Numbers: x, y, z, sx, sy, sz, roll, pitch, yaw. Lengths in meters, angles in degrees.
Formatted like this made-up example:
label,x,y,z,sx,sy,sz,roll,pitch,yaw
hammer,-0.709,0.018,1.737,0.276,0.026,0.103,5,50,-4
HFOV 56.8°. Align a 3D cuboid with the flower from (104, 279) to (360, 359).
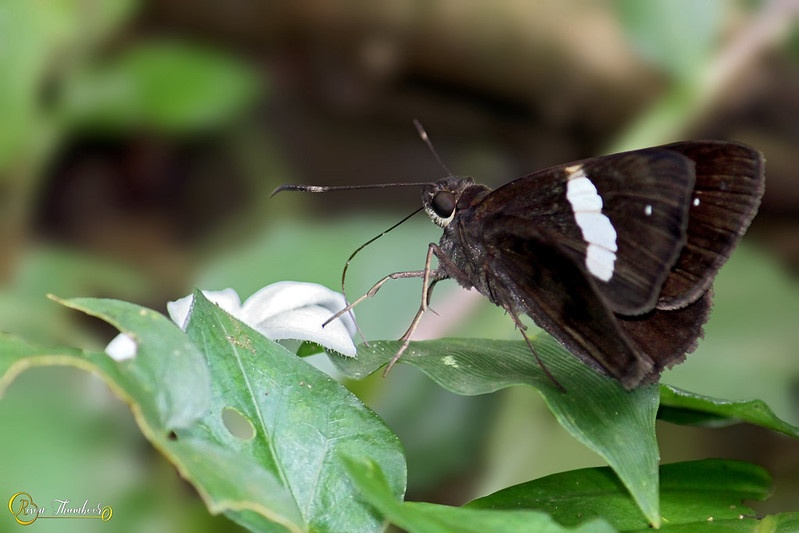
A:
label,x,y,z,sx,sy,sz,roll,pitch,yaw
flower,-0.315,0.102,1.770,0.360,0.076,0.260,9,21,3
